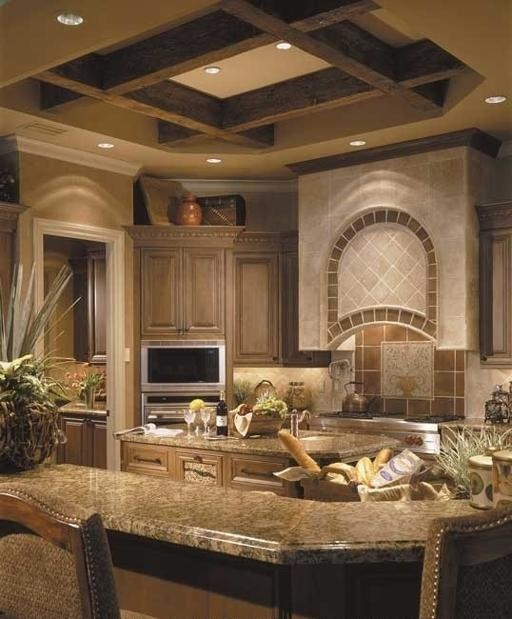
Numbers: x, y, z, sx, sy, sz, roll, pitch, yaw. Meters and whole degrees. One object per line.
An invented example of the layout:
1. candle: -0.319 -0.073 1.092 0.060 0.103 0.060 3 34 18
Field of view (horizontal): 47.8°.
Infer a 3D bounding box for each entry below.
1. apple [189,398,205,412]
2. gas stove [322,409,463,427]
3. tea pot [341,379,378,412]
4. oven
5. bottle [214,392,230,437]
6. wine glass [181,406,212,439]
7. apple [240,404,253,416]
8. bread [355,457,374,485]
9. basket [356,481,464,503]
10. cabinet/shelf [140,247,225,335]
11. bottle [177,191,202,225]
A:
1. apple: -0.400 0.648 3.901 0.124 0.068 0.090 0 -1 1
2. gas stove: 1.210 0.950 5.106 1.239 0.071 0.631 -3 -6 42
3. tea pot: 0.923 0.837 5.562 0.376 0.294 0.421 -2 -5 36
4. oven: -0.741 0.721 5.379 0.882 0.870 0.443 0 -8 -5
5. bottle: -0.226 0.682 3.761 0.077 0.279 0.191 1 -4 -5
6. wine glass: -0.393 0.768 3.899 0.211 0.188 0.196 0 -7 -5
7. apple: -0.063 0.654 3.762 0.096 0.065 0.179 0 -4 9
8. bread: 0.427 0.634 2.250 0.060 0.081 0.021 13 -31 -12
9. basket: 0.481 0.604 1.899 0.169 0.047 0.123 1 -5 -20
10. cabinet/shelf: -0.774 -0.156 5.760 0.974 0.919 0.350 1 -2 0
11. bottle: -0.695 -1.020 5.980 0.252 0.391 0.356 1 -4 -7
